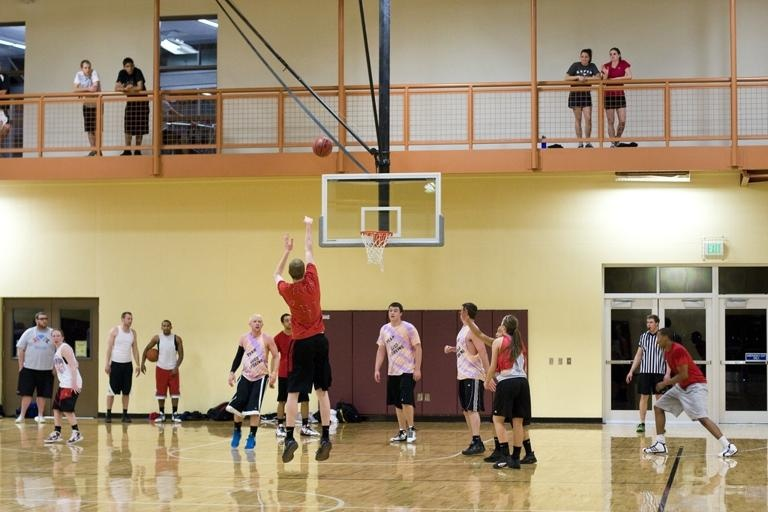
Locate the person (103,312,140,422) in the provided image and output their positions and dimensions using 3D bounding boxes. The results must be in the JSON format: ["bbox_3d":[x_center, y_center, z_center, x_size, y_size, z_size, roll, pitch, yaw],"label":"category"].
[{"bbox_3d":[-6.169,2.576,20.338,0.873,2.548,0.851,1,-2,-30],"label":"person"}]

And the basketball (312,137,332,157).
[{"bbox_3d":[-1.319,-2.339,18.395,0.355,0.392,0.393,0,-2,-11],"label":"basketball"}]

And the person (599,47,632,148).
[{"bbox_3d":[5.358,-3.680,19.946,0.636,2.359,1.166,-1,-2,15],"label":"person"}]

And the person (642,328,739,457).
[{"bbox_3d":[5.708,2.585,16.493,1.467,2.450,0.995,-1,-2,16],"label":"person"}]

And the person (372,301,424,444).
[{"bbox_3d":[0.322,2.389,17.847,0.971,2.874,0.841,-1,-2,12],"label":"person"}]

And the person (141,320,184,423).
[{"bbox_3d":[-5.210,2.690,20.380,0.838,2.355,0.383,0,-2,-6],"label":"person"}]

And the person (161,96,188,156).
[{"bbox_3d":[-5.056,-3.093,20.716,0.796,1.174,0.204,0,0,5],"label":"person"}]

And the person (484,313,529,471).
[{"bbox_3d":[2.261,2.464,15.750,0.738,2.755,0.432,-1,-2,7],"label":"person"}]

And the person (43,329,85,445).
[{"bbox_3d":[-6.759,2.683,18.270,0.698,2.315,1.527,0,-2,-20],"label":"person"}]

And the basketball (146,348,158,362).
[{"bbox_3d":[-5.465,2.307,20.345,0.286,0.315,0.234,-1,-2,7],"label":"basketball"}]

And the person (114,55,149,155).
[{"bbox_3d":[-6.100,-3.651,20.917,0.770,2.415,1.037,0,-2,-14],"label":"person"}]

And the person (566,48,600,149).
[{"bbox_3d":[4.601,-3.611,19.968,0.738,2.372,1.156,-1,-2,15],"label":"person"}]
